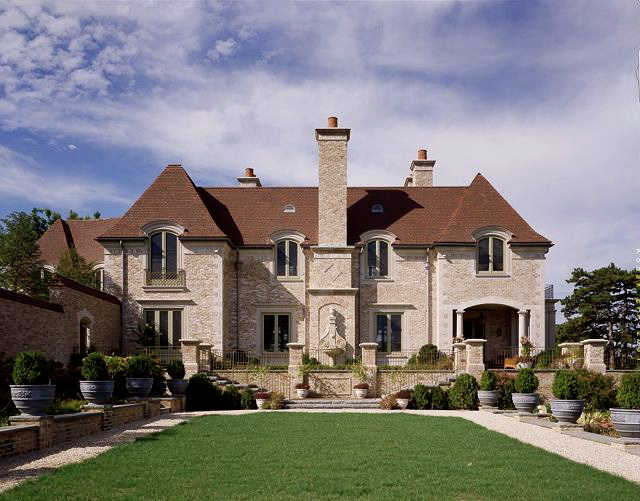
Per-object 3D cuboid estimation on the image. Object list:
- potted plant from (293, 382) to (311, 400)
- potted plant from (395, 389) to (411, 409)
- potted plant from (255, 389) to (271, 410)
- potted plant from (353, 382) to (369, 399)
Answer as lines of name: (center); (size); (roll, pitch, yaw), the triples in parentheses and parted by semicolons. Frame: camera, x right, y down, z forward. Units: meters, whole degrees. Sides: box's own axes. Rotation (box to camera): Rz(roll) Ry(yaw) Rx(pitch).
potted plant: (-0.722, 5.893, 43.036); (0.614, 0.614, 0.591); (2, -14, -7)
potted plant: (3.415, 6.056, 41.578); (0.414, 0.731, 0.853); (-8, -13, 42)
potted plant: (-2.290, 6.080, 41.381); (0.690, 0.688, 0.578); (1, -25, -2)
potted plant: (1.761, 5.932, 43.223); (0.664, 0.642, 0.443); (0, -10, 3)
